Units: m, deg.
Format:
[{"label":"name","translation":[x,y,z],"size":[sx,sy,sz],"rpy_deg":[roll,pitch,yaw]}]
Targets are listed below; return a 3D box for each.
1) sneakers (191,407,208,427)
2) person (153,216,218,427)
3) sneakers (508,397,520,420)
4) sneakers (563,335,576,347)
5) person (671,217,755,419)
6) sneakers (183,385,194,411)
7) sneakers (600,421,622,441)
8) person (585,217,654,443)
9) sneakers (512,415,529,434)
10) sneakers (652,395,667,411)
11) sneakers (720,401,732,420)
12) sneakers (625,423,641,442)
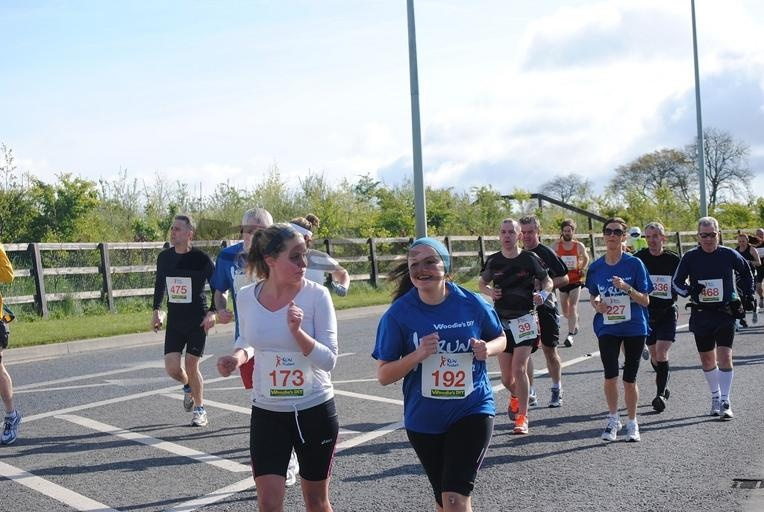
[{"label":"sneakers","translation":[-2.300,2.003,8.925],"size":[0.202,0.239,0.307],"rpy_deg":[-4,0,-15]},{"label":"person","translation":[-2.512,0.807,9.047],"size":[0.789,2.691,0.569],"rpy_deg":[-4,0,-7]},{"label":"sneakers","translation":[1.633,1.870,8.779],"size":[0.090,0.284,0.106],"rpy_deg":[0,-2,3]},{"label":"sneakers","translation":[3.604,1.631,13.667],"size":[0.127,0.181,0.401],"rpy_deg":[-2,-9,7]},{"label":"person","translation":[4.513,0.650,9.520],"size":[0.896,2.507,0.835],"rpy_deg":[-4,0,-13]},{"label":"sneakers","translation":[-2.499,1.829,9.177],"size":[0.121,0.407,0.172],"rpy_deg":[-3,6,-10]},{"label":"sneakers","translation":[2.682,2.020,8.333],"size":[0.197,0.232,0.446],"rpy_deg":[-4,0,27]},{"label":"person","translation":[2.889,0.826,8.550],"size":[0.748,2.576,1.006],"rpy_deg":[-3,0,19]},{"label":"sneakers","translation":[1.683,2.008,8.593],"size":[0.188,0.213,0.358],"rpy_deg":[-4,0,11]},{"label":"sneakers","translation":[3.623,1.914,9.247],"size":[0.128,0.215,0.201],"rpy_deg":[1,-5,-4]},{"label":"sneakers","translation":[4.281,1.907,8.833],"size":[0.095,0.219,0.301],"rpy_deg":[2,5,27]},{"label":"sneakers","translation":[2.904,2.012,8.194],"size":[0.151,0.227,0.188],"rpy_deg":[-4,0,22]}]
